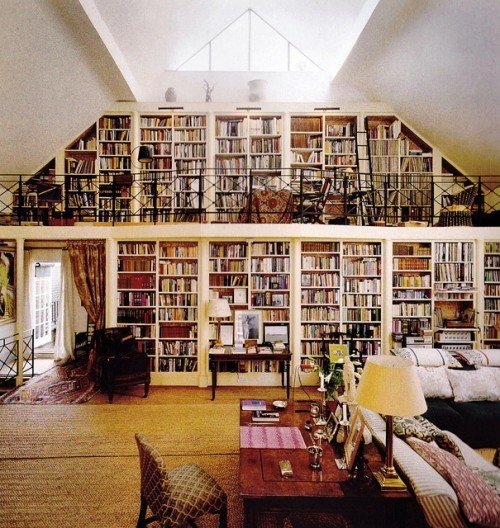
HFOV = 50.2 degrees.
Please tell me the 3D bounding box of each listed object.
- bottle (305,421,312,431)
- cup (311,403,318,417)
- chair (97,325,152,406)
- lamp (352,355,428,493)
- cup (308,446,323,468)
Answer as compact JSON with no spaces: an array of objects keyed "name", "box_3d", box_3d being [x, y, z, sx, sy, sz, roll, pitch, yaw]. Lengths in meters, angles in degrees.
[{"name":"bottle","box_3d":[0.586,1.584,5.266,0.059,0.064,0.059,-6,9,-41]},{"name":"cup","box_3d":[0.676,1.491,5.494,0.083,0.143,0.080,2,3,0]},{"name":"chair","box_3d":[-1.875,1.443,7.960,0.679,0.982,0.935,0,-2,-22]},{"name":"lamp","box_3d":[1.135,1.312,4.369,0.441,1.079,0.481,0,-2,-26]},{"name":"cup","box_3d":[0.589,1.693,4.712,0.107,0.163,0.145,1,-2,-18]}]
